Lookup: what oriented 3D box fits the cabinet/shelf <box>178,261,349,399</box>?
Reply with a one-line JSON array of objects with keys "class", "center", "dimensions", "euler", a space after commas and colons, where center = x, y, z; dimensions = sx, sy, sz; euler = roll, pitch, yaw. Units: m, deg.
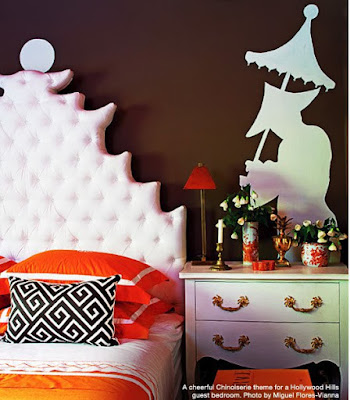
[{"class": "cabinet/shelf", "center": [0.449, 0.579, 2.414], "dimensions": [1.033, 0.672, 0.613], "euler": [-1, -9, 7]}]

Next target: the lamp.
[{"class": "lamp", "center": [0.140, 0.073, 2.471], "dimensions": [0.177, 0.552, 0.291], "euler": [-2, 0, 4]}]

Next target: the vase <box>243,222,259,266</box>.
[{"class": "vase", "center": [0.416, 0.236, 2.424], "dimensions": [0.089, 0.226, 0.165], "euler": [-2, 0, 9]}]

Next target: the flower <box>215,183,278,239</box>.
[{"class": "flower", "center": [0.393, 0.041, 2.513], "dimensions": [0.342, 0.305, 0.331], "euler": [1, 3, 30]}]

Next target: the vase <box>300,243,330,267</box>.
[{"class": "vase", "center": [0.730, 0.280, 2.303], "dimensions": [0.138, 0.109, 0.130], "euler": [0, -3, 5]}]

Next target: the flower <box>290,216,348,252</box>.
[{"class": "flower", "center": [0.761, 0.177, 2.332], "dimensions": [0.229, 0.103, 0.227], "euler": [-7, -2, 27]}]
